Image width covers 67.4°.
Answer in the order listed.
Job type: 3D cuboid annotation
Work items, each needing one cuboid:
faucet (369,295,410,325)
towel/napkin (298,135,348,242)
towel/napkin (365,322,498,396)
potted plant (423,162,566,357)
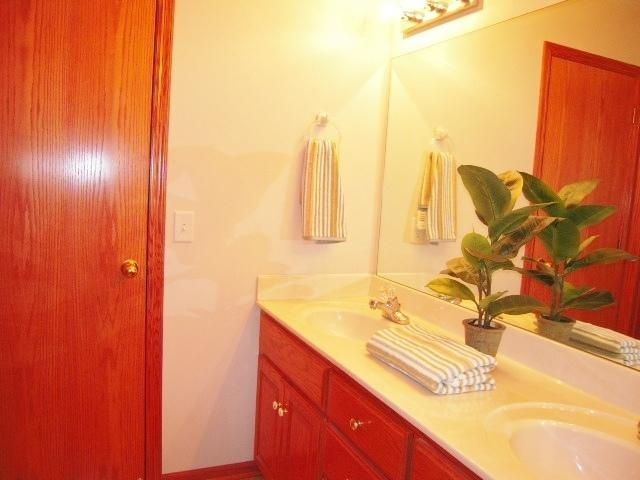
[{"bbox_3d":[0.304,0.306,2.102,0.086,0.092,0.175,-6,8,-36],"label":"faucet"},{"bbox_3d":[0.013,-0.238,2.270,0.205,0.488,0.091,-2,6,-5],"label":"towel/napkin"},{"bbox_3d":[0.341,0.378,1.583,0.220,0.082,0.261,-3,11,-31],"label":"towel/napkin"},{"bbox_3d":[0.626,0.130,1.714,0.433,0.577,0.403,8,-8,-9],"label":"potted plant"}]
